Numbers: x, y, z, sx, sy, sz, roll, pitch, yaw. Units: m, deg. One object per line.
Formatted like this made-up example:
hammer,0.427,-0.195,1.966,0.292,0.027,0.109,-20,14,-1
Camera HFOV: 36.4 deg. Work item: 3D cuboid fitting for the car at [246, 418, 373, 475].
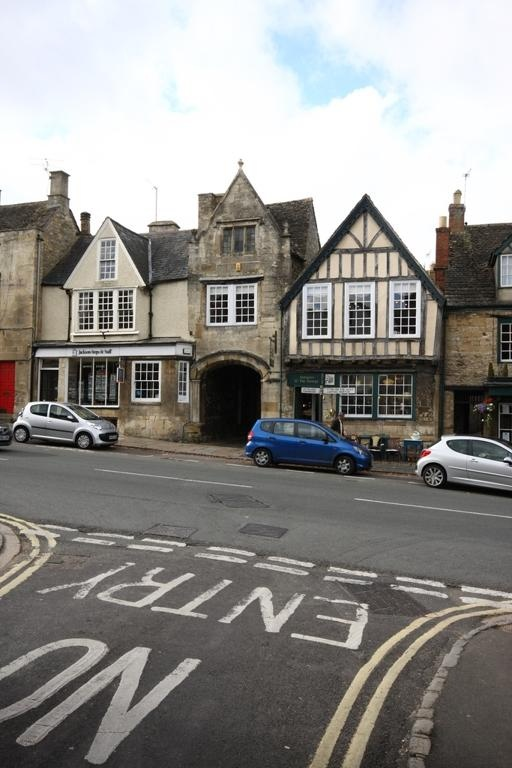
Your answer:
car,1.433,1.672,20.802,2.688,1.337,1.546,-1,-4,22

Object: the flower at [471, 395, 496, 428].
flower,7.260,0.891,24.674,0.856,1.250,0.887,-2,-8,36

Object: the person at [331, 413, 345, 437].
person,2.428,1.216,23.167,0.356,1.047,0.571,-3,7,2

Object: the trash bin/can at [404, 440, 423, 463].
trash bin/can,4.896,2.101,24.199,0.548,0.730,0.588,1,-7,9

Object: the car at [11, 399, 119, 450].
car,-5.917,1.290,24.433,2.614,1.345,1.601,1,-2,15
